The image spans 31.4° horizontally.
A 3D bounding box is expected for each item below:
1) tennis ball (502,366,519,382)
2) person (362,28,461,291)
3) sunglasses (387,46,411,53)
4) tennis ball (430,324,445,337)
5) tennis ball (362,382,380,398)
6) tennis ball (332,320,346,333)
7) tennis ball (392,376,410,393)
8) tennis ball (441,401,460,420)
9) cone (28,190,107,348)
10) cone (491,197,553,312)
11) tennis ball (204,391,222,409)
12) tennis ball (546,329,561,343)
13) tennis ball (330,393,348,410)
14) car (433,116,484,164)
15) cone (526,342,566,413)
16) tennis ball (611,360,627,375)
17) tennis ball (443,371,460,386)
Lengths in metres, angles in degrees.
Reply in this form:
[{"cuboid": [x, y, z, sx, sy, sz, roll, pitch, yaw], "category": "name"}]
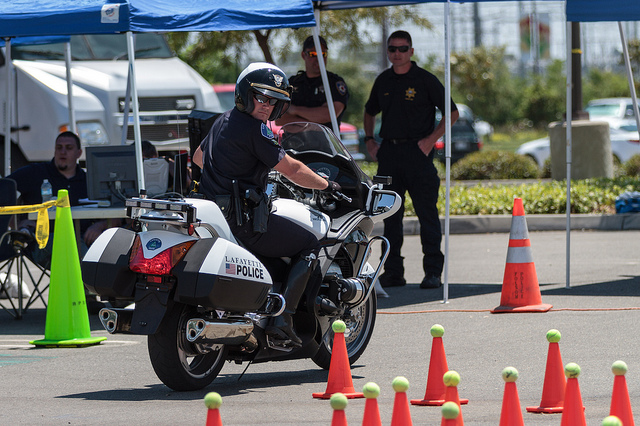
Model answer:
[{"cuboid": [1.583, 1.351, 9.567, 0.121, 0.121, 0.210, -3, 2, 9], "category": "tennis ball"}, {"cuboid": [1.078, -0.719, 14.787, 1.457, 3.383, 0.827, 0, 2, 36], "category": "person"}, {"cuboid": [1.000, -2.095, 14.508, 0.287, 0.096, 0.130, -3, 2, 5], "category": "sunglasses"}, {"cuboid": [1.048, 1.067, 10.298, 0.107, 0.111, 0.175, -3, 2, 10], "category": "tennis ball"}, {"cuboid": [0.414, 1.453, 9.337, 0.118, 0.139, 0.241, -3, 2, 5], "category": "tennis ball"}, {"cuboid": [0.165, 1.035, 10.421, 0.106, 0.109, 0.106, 18, 16, -5], "category": "tennis ball"}, {"cuboid": [0.655, 1.404, 9.360, 0.128, 0.129, 0.127, -1, 22, 1], "category": "tennis ball"}, {"cuboid": [1.033, 1.581, 9.103, 0.146, 0.154, 0.195, -3, 2, 6], "category": "tennis ball"}, {"cuboid": [-2.812, 0.554, 12.597, 0.743, 1.753, 0.628, -3, 4, -32], "category": "cone"}, {"cuboid": [2.322, 0.499, 13.370, 0.639, 1.348, 0.329, -3, 3, 9], "category": "cone"}, {"cuboid": [-0.858, 1.502, 9.107, 0.120, 0.135, 0.149, -4, 2, -5], "category": "tennis ball"}, {"cuboid": [2.035, 1.085, 9.993, 0.107, 0.123, 0.199, -3, 2, 13], "category": "tennis ball"}, {"cuboid": [0.142, 1.523, 9.223, 0.127, 0.141, 0.198, -4, 2, -1], "category": "tennis ball"}, {"cuboid": [3.837, -2.088, 33.316, 1.439, 1.463, 2.949, -1, 10, -3], "category": "car"}, {"cuboid": [2.001, 1.474, 10.176, 0.356, 0.657, 0.209, -3, 2, 11], "category": "cone"}, {"cuboid": [2.456, 1.279, 9.431, 0.116, 0.117, 0.112, 0, -19, 0], "category": "tennis ball"}, {"cuboid": [1.094, 1.392, 9.557, 0.123, 0.124, 0.148, -3, 2, 8], "category": "tennis ball"}]
